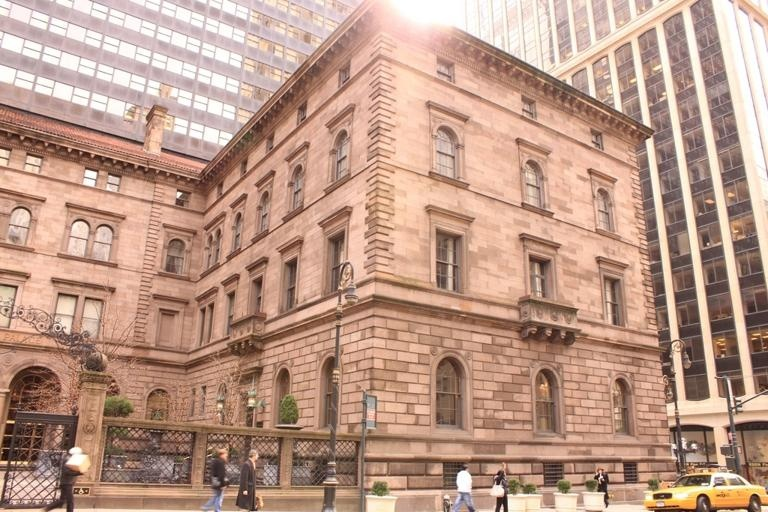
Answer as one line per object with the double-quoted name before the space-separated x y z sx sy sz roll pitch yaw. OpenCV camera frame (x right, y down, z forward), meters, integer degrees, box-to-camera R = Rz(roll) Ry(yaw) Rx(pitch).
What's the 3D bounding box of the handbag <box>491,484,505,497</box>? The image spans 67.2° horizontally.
"handbag" 5.791 11.925 29.427 0.632 0.560 0.507 -8 -26 16
